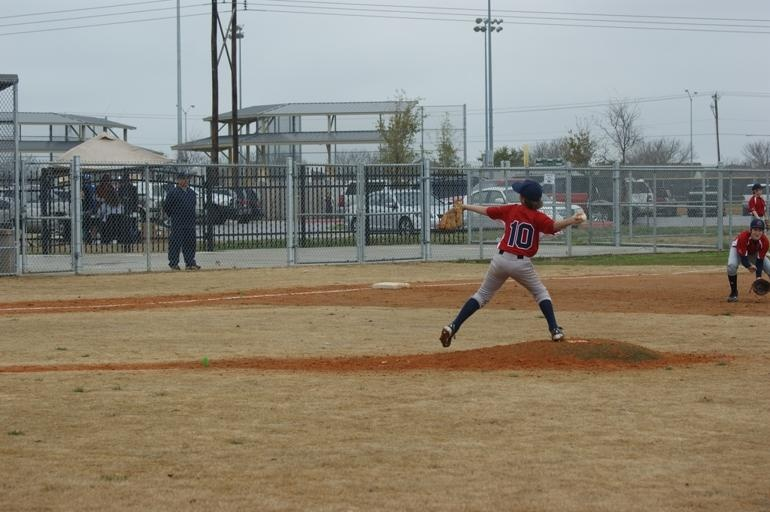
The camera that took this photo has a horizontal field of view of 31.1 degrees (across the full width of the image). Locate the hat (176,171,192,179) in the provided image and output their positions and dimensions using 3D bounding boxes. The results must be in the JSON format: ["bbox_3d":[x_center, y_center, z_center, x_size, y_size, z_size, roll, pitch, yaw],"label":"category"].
[{"bbox_3d":[-4.749,-1.898,32.426,0.343,0.203,0.261,-4,8,-10],"label":"hat"}]

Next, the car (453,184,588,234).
[{"bbox_3d":[2.303,-0.709,22.434,1.910,0.728,0.892,2,6,31],"label":"car"}]

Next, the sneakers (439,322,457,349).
[{"bbox_3d":[0.982,1.267,22.008,0.194,0.434,0.195,12,-1,24],"label":"sneakers"}]

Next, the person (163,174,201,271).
[{"bbox_3d":[-4.811,-0.816,32.424,0.805,2.277,0.492,-1,2,-11],"label":"person"}]

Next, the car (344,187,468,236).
[{"bbox_3d":[0.162,-1.138,34.753,2.157,0.939,1.334,0,2,38],"label":"car"}]

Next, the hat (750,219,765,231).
[{"bbox_3d":[7.219,-0.605,26.650,0.284,0.220,0.477,0,3,14],"label":"hat"}]

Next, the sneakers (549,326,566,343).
[{"bbox_3d":[2.742,1.243,21.962,0.214,0.240,0.209,0,2,6],"label":"sneakers"}]

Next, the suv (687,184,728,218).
[{"bbox_3d":[9.998,-1.641,43.165,1.151,0.997,2.199,1,7,12],"label":"suv"}]

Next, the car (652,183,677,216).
[{"bbox_3d":[9.089,-1.794,44.846,1.033,0.976,1.955,1,10,12],"label":"car"}]
